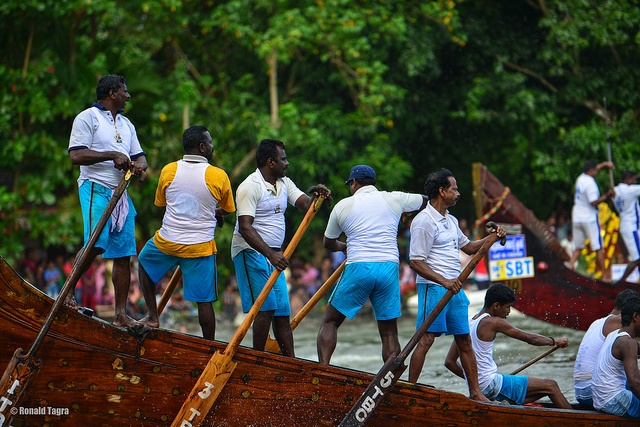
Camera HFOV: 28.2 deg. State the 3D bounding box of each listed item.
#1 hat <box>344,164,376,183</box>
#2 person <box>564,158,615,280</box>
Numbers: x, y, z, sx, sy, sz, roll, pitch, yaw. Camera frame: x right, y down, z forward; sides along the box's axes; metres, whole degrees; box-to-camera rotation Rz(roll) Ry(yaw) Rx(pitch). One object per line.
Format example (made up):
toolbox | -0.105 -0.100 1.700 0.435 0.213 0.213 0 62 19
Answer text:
hat | 0.642 -0.590 19.025 0.293 0.181 0.238 -2 0 16
person | 4.779 0.106 22.433 0.538 2.131 0.628 -5 8 -37
